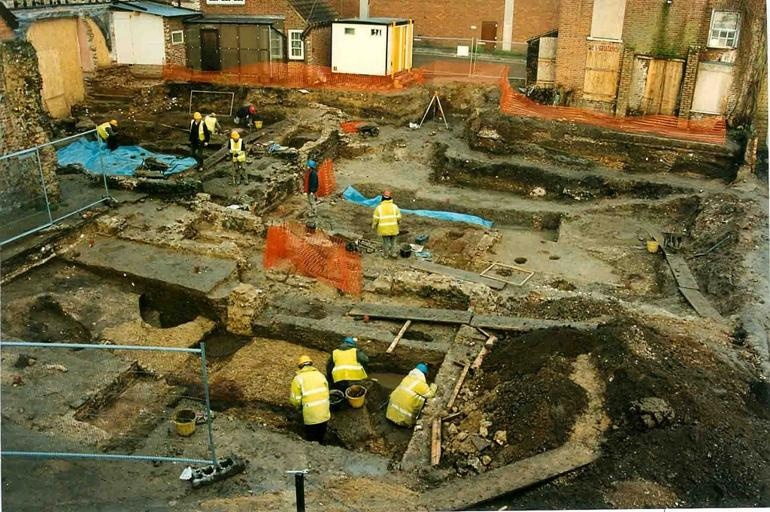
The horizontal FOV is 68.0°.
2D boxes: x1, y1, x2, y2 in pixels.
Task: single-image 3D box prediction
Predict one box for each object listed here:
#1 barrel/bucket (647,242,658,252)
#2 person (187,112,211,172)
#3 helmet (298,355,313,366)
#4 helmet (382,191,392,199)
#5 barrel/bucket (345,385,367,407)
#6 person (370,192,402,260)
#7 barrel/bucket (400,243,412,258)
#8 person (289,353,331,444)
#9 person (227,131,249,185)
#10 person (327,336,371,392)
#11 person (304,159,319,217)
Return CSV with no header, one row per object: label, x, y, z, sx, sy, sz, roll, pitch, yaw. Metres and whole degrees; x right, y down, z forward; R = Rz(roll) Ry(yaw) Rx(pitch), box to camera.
barrel/bucket,7.087,-0.260,15.229,0.315,0.240,0.281,-11,18,-18
person,-5.678,-3.601,17.622,0.580,1.700,1.537,-5,24,-16
helmet,-1.460,1.923,10.429,0.251,0.126,0.278,-9,6,-23
helmet,0.066,-1.515,14.331,0.243,0.088,0.294,3,19,1
barrel/bucket,-0.542,2.728,11.175,0.489,0.262,0.360,1,25,13
person,0.053,-0.912,14.882,0.665,1.777,1.012,2,24,0
barrel/bucket,0.542,-0.134,14.984,0.373,0.233,0.325,0,12,-5
person,-1.316,2.666,10.431,0.682,1.696,0.518,8,26,13
person,-4.359,-2.952,17.039,0.441,1.488,0.866,-4,25,-13
person,-0.672,2.173,11.368,1.112,1.053,0.812,5,25,9
person,-2.108,-1.980,16.495,0.332,1.679,0.610,-3,25,-11
